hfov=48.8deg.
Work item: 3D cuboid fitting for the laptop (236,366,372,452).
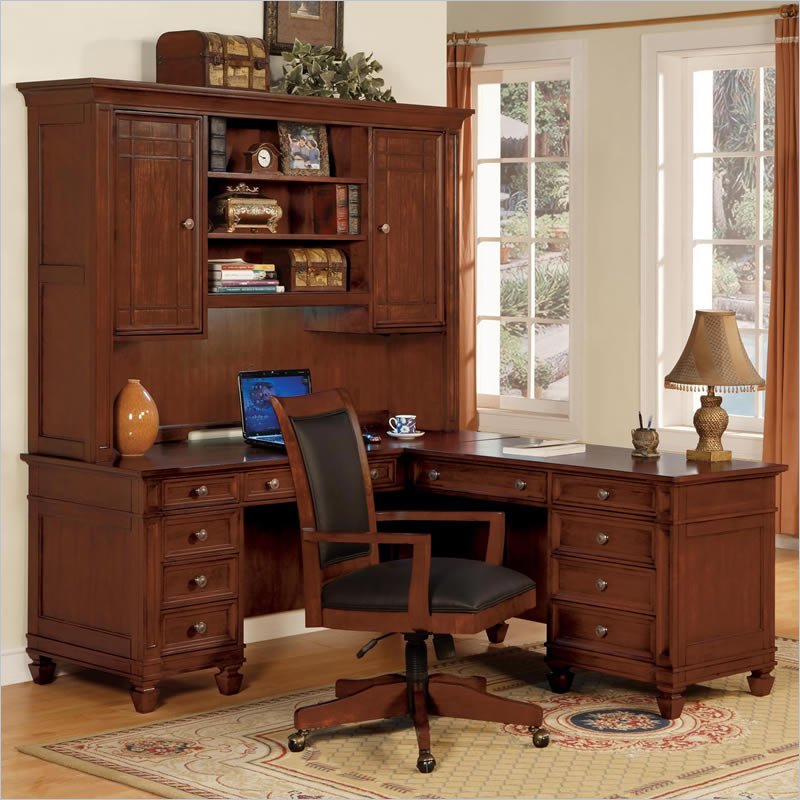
[{"bbox_3d":[-0.337,0.028,3.448,0.456,0.285,0.483,6,6,20],"label":"laptop"}]

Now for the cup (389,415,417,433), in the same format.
[{"bbox_3d":[0.014,0.100,3.646,0.102,0.056,0.068,0,3,-8],"label":"cup"}]

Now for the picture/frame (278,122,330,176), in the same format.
[{"bbox_3d":[-0.370,-0.982,3.457,0.250,0.200,0.027,15,32,35],"label":"picture/frame"}]

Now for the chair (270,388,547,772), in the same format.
[{"bbox_3d":[0.075,0.464,2.467,0.783,0.838,0.731,1,-2,24],"label":"chair"}]

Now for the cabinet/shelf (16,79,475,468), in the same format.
[{"bbox_3d":[-0.539,-0.474,3.453,1.720,1.128,0.482,-11,13,-41],"label":"cabinet/shelf"}]
